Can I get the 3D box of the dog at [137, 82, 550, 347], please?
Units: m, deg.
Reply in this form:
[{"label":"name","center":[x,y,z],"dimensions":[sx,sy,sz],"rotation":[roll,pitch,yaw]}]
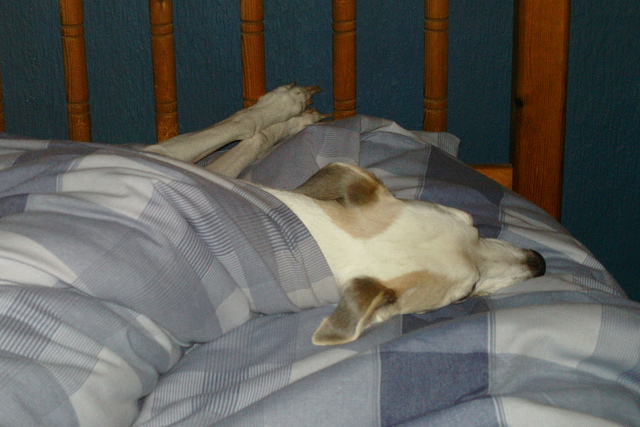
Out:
[{"label":"dog","center":[0.040,0.022,1.607],"dimensions":[0.796,0.559,0.293],"rotation":[17,-13,-20]}]
